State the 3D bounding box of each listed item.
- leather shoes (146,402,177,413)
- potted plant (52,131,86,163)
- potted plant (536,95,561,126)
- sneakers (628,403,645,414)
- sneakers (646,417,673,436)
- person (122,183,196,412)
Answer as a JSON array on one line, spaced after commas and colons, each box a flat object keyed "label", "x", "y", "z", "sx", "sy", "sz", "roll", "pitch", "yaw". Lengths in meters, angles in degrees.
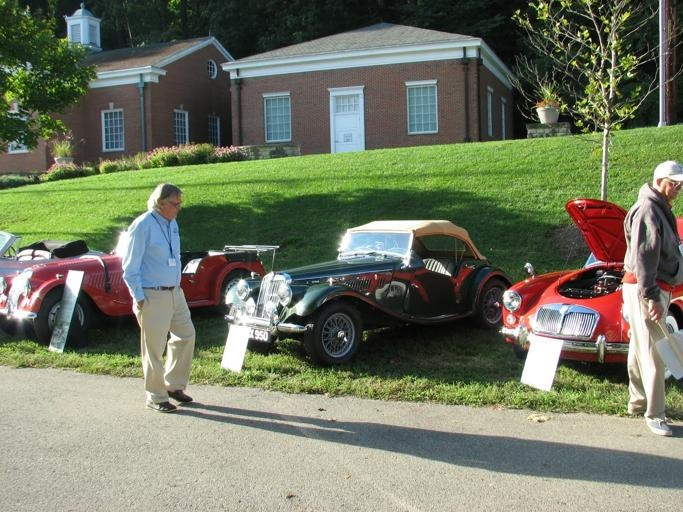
[{"label": "leather shoes", "x": -2.111, "y": 1.736, "z": 7.911, "sx": 0.294, "sy": 0.139, "sz": 0.127, "roll": -2, "pitch": -3, "yaw": 12}, {"label": "potted plant", "x": -12.847, "y": -5.077, "z": 31.671, "sx": 1.306, "sy": 1.411, "sz": 2.234, "roll": -4, "pitch": 15, "yaw": -11}, {"label": "potted plant", "x": 6.905, "y": -4.875, "z": 22.769, "sx": 0.715, "sy": 0.893, "sz": 0.756, "roll": 3, "pitch": 15, "yaw": 16}, {"label": "sneakers", "x": 3.327, "y": 1.715, "z": 7.662, "sx": 0.147, "sy": 0.112, "sz": 0.098, "roll": -1, "pitch": -8, "yaw": 4}, {"label": "sneakers", "x": 3.417, "y": 1.835, "z": 7.316, "sx": 0.108, "sy": 0.132, "sz": 0.302, "roll": 3, "pitch": -4, "yaw": -14}, {"label": "person", "x": -2.106, "y": 0.493, "z": 8.030, "sx": 0.646, "sy": 2.606, "sz": 0.762, "roll": 9, "pitch": 16, "yaw": 35}]
